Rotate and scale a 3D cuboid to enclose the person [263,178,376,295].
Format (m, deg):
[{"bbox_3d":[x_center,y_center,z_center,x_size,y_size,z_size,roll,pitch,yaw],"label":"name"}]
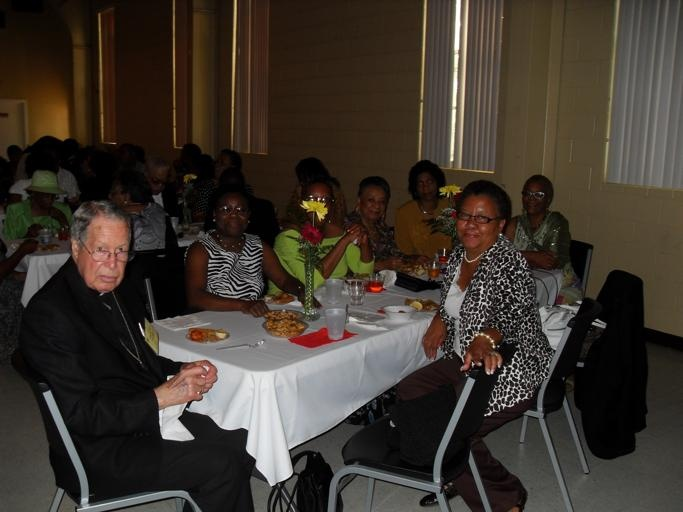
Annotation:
[{"bbox_3d":[-0.143,-0.047,3.498,0.747,0.982,0.696,-4,23,-30],"label":"person"}]

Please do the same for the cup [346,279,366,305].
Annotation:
[{"bbox_3d":[0.083,0.204,2.958,0.124,0.166,0.158,0,6,26],"label":"cup"}]

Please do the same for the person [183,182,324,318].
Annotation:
[{"bbox_3d":[-0.561,0.017,3.017,0.840,0.872,0.717,1,4,5],"label":"person"}]

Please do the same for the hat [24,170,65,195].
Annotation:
[{"bbox_3d":[-2.757,-0.666,4.524,0.266,0.148,0.247,6,8,12],"label":"hat"}]

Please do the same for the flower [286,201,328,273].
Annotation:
[{"bbox_3d":[-0.164,-0.084,2.723,0.166,0.443,0.174,7,4,36],"label":"flower"}]

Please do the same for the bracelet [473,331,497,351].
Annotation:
[{"bbox_3d":[0.635,0.362,2.192,0.089,0.035,0.076,43,46,21],"label":"bracelet"}]

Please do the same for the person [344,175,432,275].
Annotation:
[{"bbox_3d":[0.305,-0.227,3.856,0.467,0.743,0.741,-5,7,-37],"label":"person"}]

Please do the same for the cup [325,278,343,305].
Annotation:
[{"bbox_3d":[-0.046,0.209,2.918,0.136,0.135,0.116,2,6,12],"label":"cup"}]

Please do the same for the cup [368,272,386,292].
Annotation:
[{"bbox_3d":[0.220,0.176,3.208,0.096,0.105,0.108,4,-7,-14],"label":"cup"}]

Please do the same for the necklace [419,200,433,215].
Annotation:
[{"bbox_3d":[0.813,-0.463,4.732,0.095,0.167,0.151,-7,18,3],"label":"necklace"}]

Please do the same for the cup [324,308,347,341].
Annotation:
[{"bbox_3d":[-0.034,0.325,2.432,0.133,0.149,0.134,0,6,0],"label":"cup"}]
